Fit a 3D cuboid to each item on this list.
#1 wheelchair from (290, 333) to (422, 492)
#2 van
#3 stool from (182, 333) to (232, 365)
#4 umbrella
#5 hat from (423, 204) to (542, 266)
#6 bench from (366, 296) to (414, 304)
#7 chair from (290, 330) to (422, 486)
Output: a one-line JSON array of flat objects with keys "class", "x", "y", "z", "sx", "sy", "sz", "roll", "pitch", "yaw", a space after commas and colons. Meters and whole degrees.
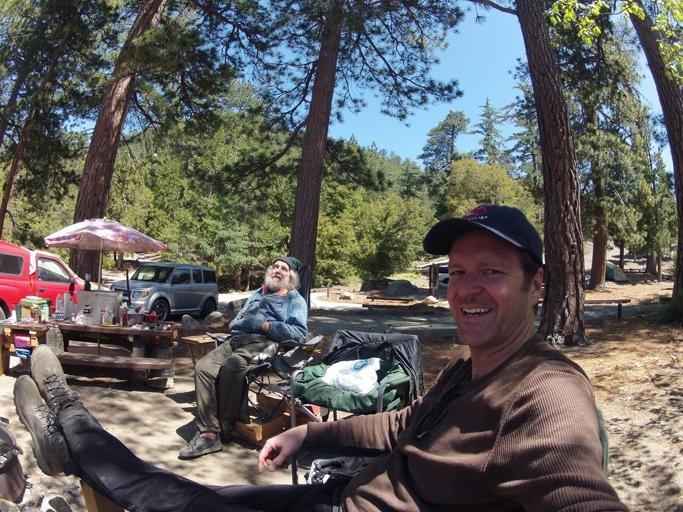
[{"class": "wheelchair", "x": 0.176, "y": 1.489, "z": 5.769, "sx": 1.232, "sy": 1.256, "sz": 1.167, "roll": 2, "pitch": 4, "yaw": 14}, {"class": "van", "x": -5.149, "y": 1.023, "z": 16.629, "sx": 2.116, "sy": 1.543, "sz": 3.282, "roll": -2, "pitch": -11, "yaw": 27}, {"class": "stool", "x": -2.080, "y": 1.439, "z": 8.486, "sx": 0.728, "sy": 0.557, "sz": 0.759, "roll": -2, "pitch": -4, "yaw": 9}, {"class": "umbrella", "x": -4.160, "y": -0.019, "z": 9.529, "sx": 1.544, "sy": 1.048, "sz": 1.670, "roll": -5, "pitch": -10, "yaw": 18}, {"class": "hat", "x": 0.721, "y": -0.139, "z": 2.832, "sx": 0.481, "sy": 0.256, "sz": 0.350, "roll": 25, "pitch": -8, "yaw": -11}, {"class": "bench", "x": 2.445, "y": 1.923, "z": 24.041, "sx": 2.224, "sy": 0.327, "sz": 0.437, "roll": -7, "pitch": -9, "yaw": 37}, {"class": "chair", "x": 0.193, "y": 1.468, "z": 5.747, "sx": 1.284, "sy": 1.174, "sz": 1.245, "roll": -2, "pitch": 5, "yaw": -7}]
